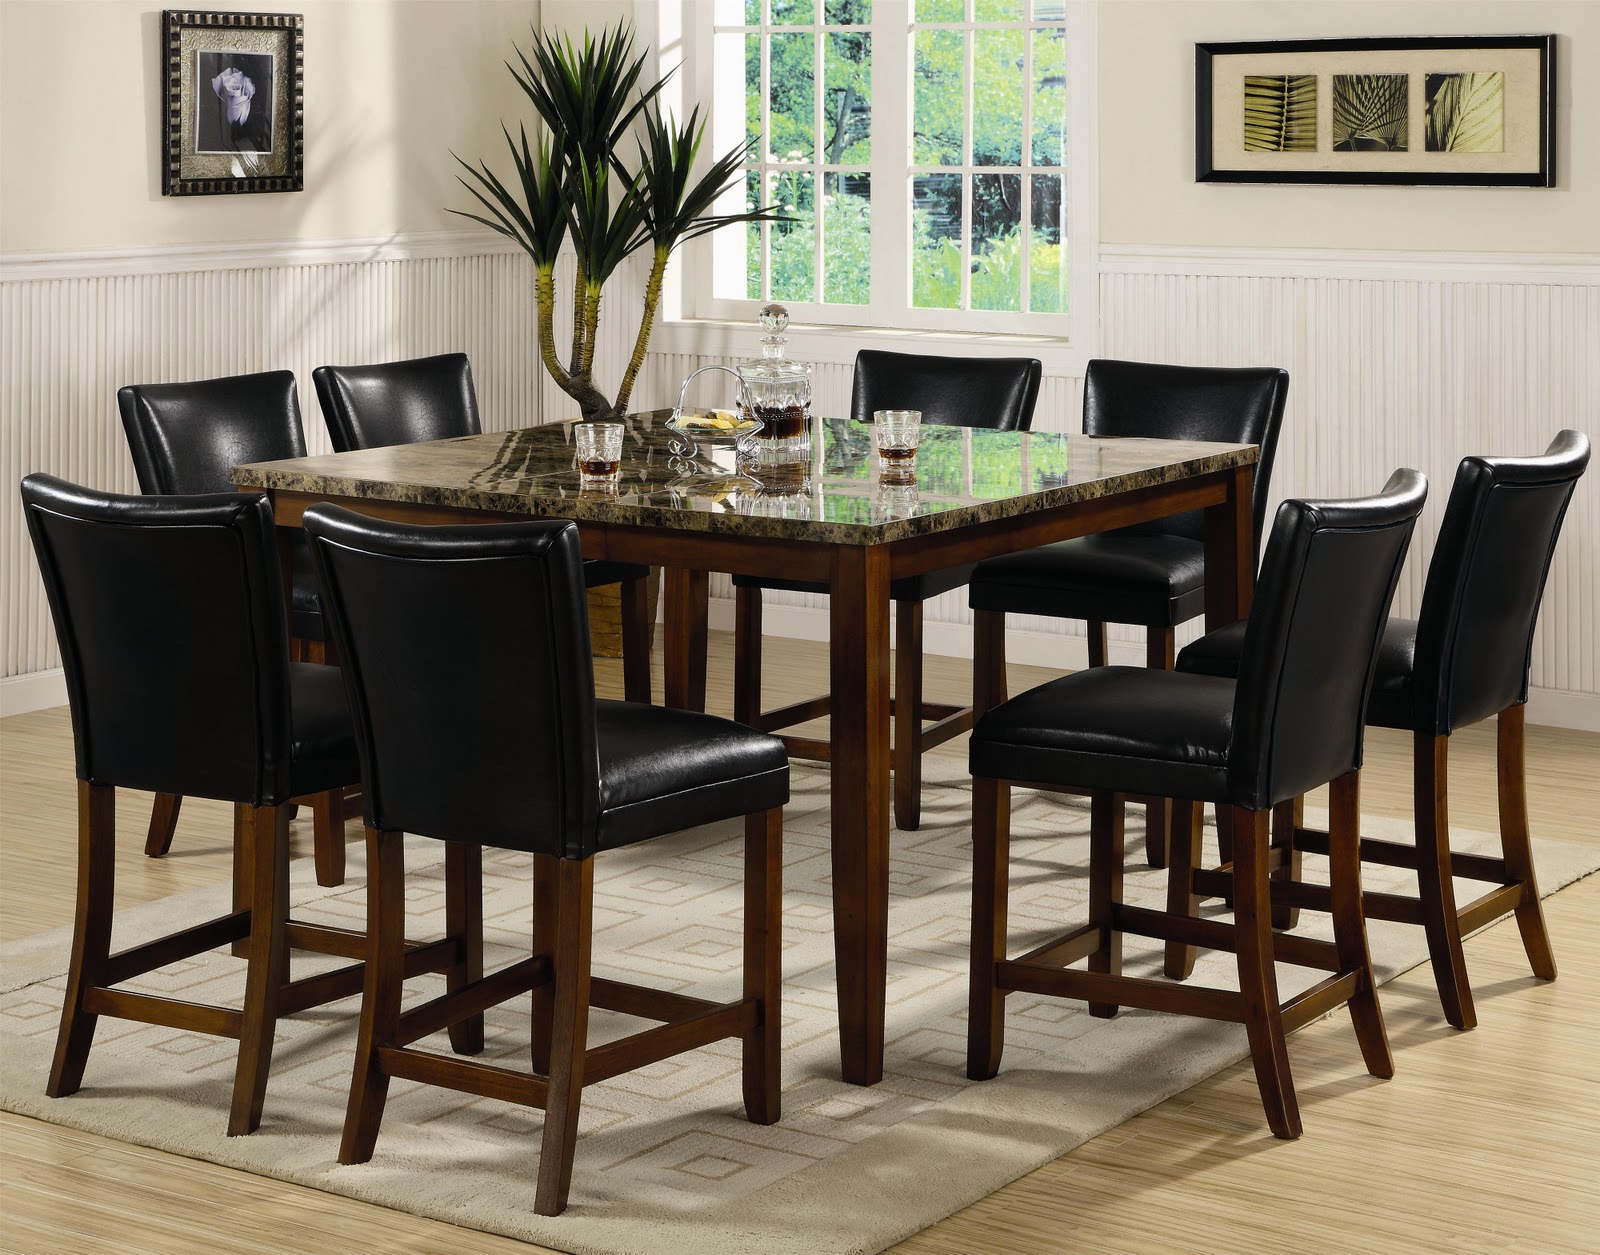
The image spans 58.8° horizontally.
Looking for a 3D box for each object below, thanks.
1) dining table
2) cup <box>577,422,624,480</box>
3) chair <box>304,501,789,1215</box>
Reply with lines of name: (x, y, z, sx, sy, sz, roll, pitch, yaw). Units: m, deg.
dining table: (-0.165, 0.283, 2.988, 1.531, 0.855, 1.531, 4, 8, 34)
cup: (-0.381, -0.339, 2.765, 0.115, 0.109, 0.109, 0, -2, 0)
chair: (-0.386, 0.294, 2.096, 0.593, 0.948, 0.502, 4, 10, 28)
